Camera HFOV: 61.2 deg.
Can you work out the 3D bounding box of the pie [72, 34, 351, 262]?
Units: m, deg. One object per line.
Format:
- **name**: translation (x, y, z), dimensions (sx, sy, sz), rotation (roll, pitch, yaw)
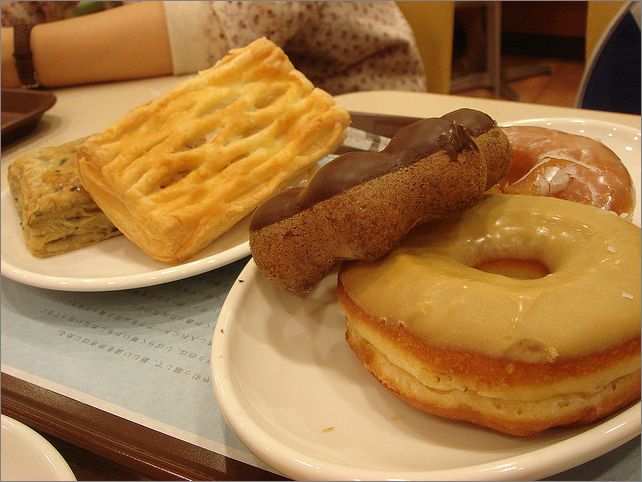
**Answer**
- **pie**: translation (-0.081, -0.132, 0.867), dimensions (0.440, 0.139, 0.288), rotation (-31, 56, -24)
